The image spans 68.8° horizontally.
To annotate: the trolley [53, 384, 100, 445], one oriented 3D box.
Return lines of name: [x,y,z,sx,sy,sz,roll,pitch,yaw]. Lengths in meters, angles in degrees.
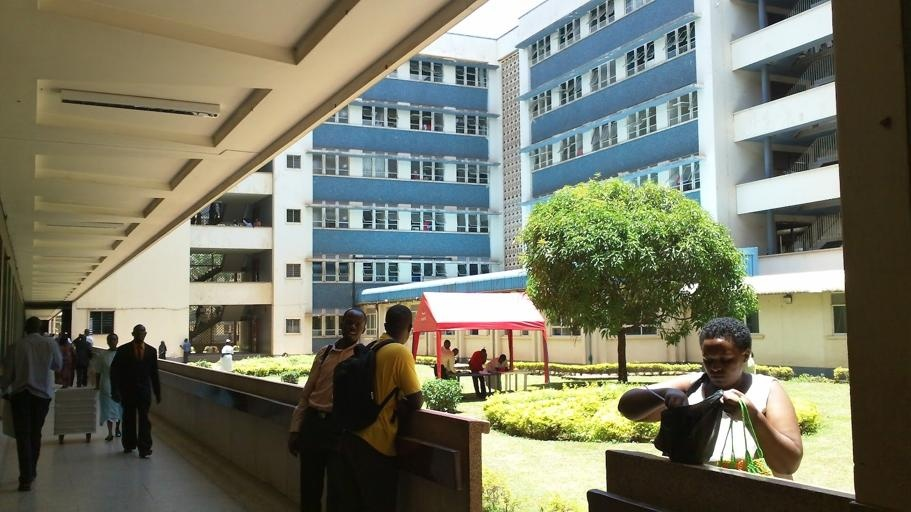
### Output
trolley: [-7.324,3.139,13.146,0.826,1.030,0.796,-1,-8,-2]

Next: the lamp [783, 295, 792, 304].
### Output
lamp: [13.416,1.719,26.827,0.120,0.360,0.377,7,-11,-15]

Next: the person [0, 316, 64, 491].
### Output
person: [-6.262,2.090,9.717,0.691,2.433,0.908,10,-12,-28]

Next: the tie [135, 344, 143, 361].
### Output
tie: [-5.358,1.614,11.250,0.139,0.281,0.147,9,-12,-27]

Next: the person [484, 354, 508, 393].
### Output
person: [1.319,3.724,21.255,0.763,1.247,1.855,3,-10,5]

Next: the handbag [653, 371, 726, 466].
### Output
handbag: [1.502,1.161,4.519,0.428,0.675,0.606,20,-17,21]
